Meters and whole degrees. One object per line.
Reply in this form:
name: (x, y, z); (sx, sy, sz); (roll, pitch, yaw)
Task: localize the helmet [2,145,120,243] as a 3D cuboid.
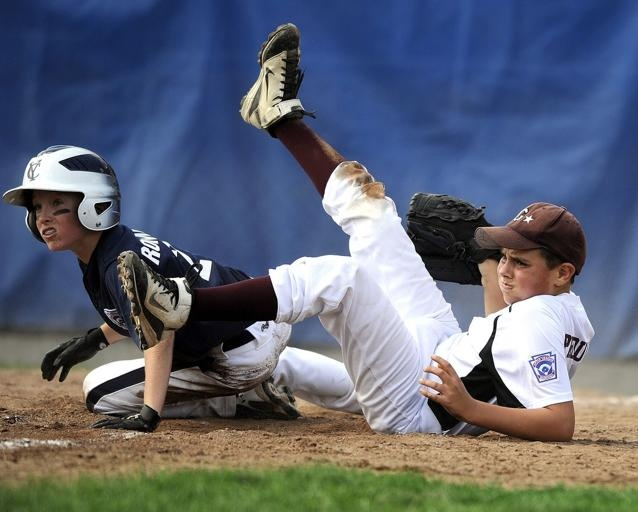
helmet: (-1.182, -0.308, 4.536); (0.601, 0.402, 0.449); (2, -12, -41)

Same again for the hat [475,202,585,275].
hat: (1.019, -0.118, 4.260); (0.479, 0.250, 0.293); (23, 7, -4)

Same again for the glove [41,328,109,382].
glove: (-1.331, 0.550, 4.968); (0.384, 0.236, 0.133); (-32, -12, -6)

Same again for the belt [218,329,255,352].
belt: (-0.411, 0.419, 4.512); (0.131, 0.101, 0.100); (-36, 6, 16)

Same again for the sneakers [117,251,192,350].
sneakers: (-0.699, 0.181, 3.968); (0.266, 0.506, 0.173); (-16, 29, -1)

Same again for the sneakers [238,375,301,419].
sneakers: (-0.261, 0.766, 4.891); (0.338, 0.143, 0.211); (1, -6, 0)

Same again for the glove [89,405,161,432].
glove: (-0.915, 0.755, 4.223); (0.375, 0.153, 0.123); (3, -7, 11)
